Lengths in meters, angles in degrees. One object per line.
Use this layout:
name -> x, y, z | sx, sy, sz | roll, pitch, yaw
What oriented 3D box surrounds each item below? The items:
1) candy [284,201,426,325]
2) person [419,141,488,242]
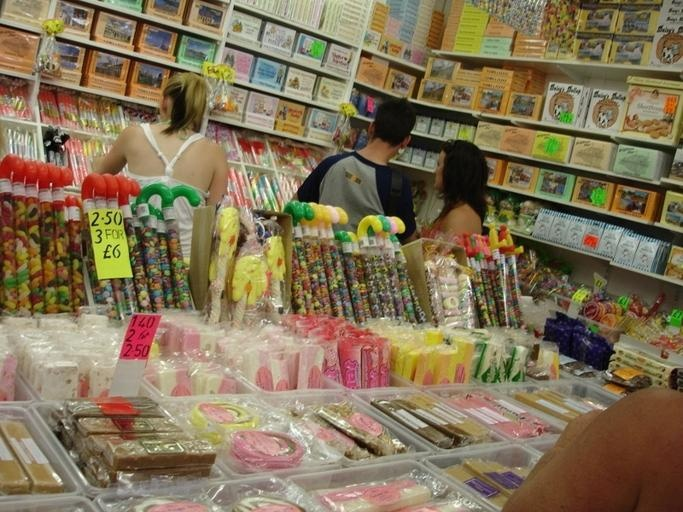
candy -> 0.057, 0.050, 2.302 | 0.589, 0.616, 0.202 | 9, -28, -31
person -> 0.913, -0.542, 3.733 | 0.479, 0.729, 0.505 | 13, 10, 24
